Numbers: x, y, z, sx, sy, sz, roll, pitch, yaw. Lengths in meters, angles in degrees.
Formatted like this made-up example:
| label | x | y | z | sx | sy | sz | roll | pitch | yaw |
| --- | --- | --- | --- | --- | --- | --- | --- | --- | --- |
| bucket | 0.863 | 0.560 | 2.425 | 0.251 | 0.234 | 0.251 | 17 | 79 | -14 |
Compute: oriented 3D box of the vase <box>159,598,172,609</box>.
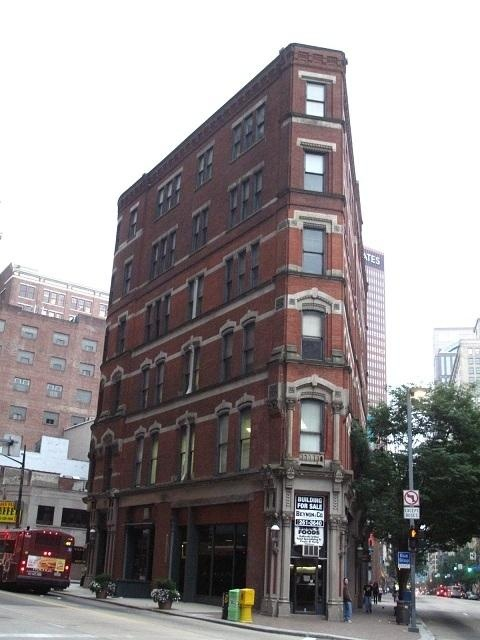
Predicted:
| label | x | y | z | sx | sy | sz | roll | pitch | yaw |
| --- | --- | --- | --- | --- | --- | --- | --- | --- | --- |
| vase | -2.831 | 10.688 | 22.776 | 0.420 | 0.274 | 0.430 | 3 | -25 | -3 |

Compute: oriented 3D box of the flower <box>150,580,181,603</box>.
| label | x | y | z | sx | sy | sz | roll | pitch | yaw |
| --- | --- | --- | --- | --- | --- | --- | --- | --- | --- |
| flower | -2.944 | 10.443 | 23.264 | 0.968 | 0.897 | 1.082 | 10 | -19 | -31 |

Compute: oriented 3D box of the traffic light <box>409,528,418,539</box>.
| label | x | y | z | sx | sy | sz | roll | pitch | yaw |
| --- | --- | --- | --- | --- | --- | --- | --- | --- | --- |
| traffic light | 5.387 | 6.589 | 18.716 | 0.215 | 0.315 | 0.345 | -5 | -22 | 19 |

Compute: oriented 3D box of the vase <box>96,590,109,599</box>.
| label | x | y | z | sx | sy | sz | roll | pitch | yaw |
| --- | --- | --- | --- | --- | --- | --- | --- | --- | --- |
| vase | -6.093 | 11.981 | 26.489 | 0.361 | 0.343 | 0.451 | 0 | -16 | -3 |

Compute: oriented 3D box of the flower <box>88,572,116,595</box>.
| label | x | y | z | sx | sy | sz | roll | pitch | yaw |
| --- | --- | --- | --- | --- | --- | --- | --- | --- | --- |
| flower | -6.084 | 11.757 | 26.981 | 1.002 | 0.931 | 0.978 | 8 | -16 | -24 |
